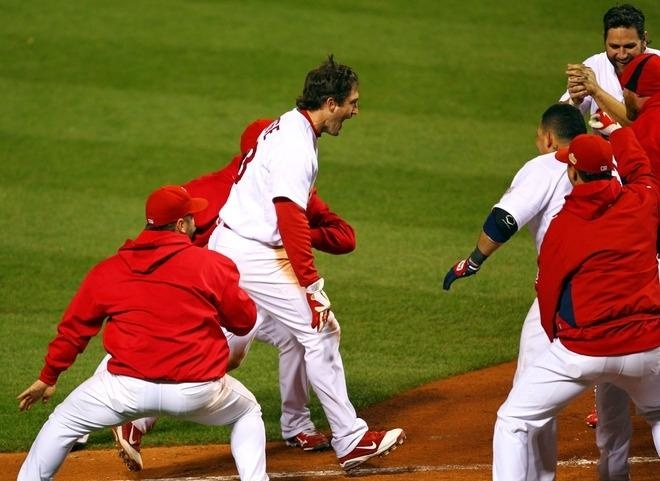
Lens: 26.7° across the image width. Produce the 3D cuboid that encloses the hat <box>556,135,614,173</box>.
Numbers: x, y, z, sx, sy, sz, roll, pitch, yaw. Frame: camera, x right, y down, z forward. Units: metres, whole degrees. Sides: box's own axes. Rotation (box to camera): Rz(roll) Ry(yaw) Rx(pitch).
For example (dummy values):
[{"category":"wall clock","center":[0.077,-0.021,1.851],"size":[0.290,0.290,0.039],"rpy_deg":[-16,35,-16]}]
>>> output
[{"category":"hat","center":[2.589,-0.878,14.042],"size":[0.348,0.268,0.470],"rpy_deg":[-12,22,-35]}]

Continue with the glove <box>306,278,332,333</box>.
[{"category":"glove","center":[-0.130,0.685,14.739],"size":[0.256,0.572,0.162],"rpy_deg":[-2,15,-11]}]

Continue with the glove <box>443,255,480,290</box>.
[{"category":"glove","center":[1.399,0.391,15.173],"size":[0.243,0.559,0.204],"rpy_deg":[34,40,-31]}]

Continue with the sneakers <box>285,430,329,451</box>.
[{"category":"sneakers","center":[-0.239,2.225,15.354],"size":[0.478,0.197,0.213],"rpy_deg":[-5,-1,26]}]

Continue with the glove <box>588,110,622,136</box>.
[{"category":"glove","center":[2.976,-1.225,14.827],"size":[0.347,0.242,0.140],"rpy_deg":[21,-19,35]}]

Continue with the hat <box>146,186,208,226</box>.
[{"category":"hat","center":[-1.609,-0.379,14.262],"size":[0.585,0.290,0.347],"rpy_deg":[-20,28,-25]}]
